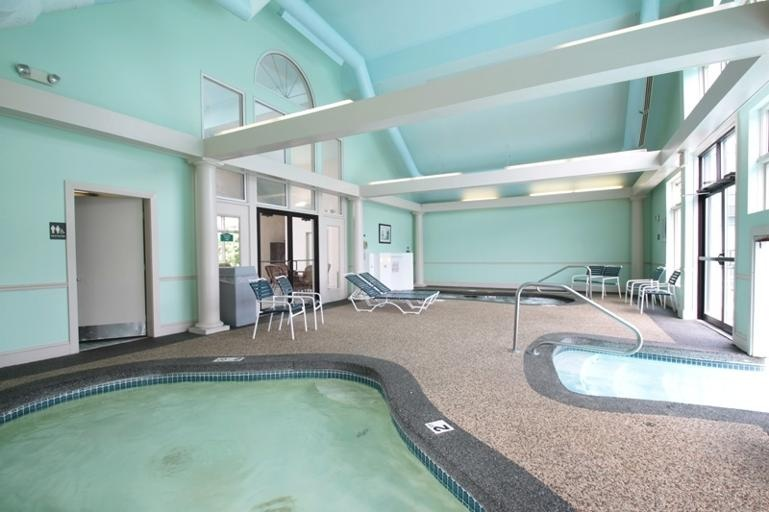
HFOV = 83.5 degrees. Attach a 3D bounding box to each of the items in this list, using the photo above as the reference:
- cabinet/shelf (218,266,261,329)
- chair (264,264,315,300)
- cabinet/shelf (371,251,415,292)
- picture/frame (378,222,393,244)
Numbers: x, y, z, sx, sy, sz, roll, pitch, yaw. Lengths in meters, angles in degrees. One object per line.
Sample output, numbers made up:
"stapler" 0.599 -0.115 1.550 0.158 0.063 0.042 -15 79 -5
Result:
"cabinet/shelf" -2.893 0.772 8.509 0.727 1.152 0.361 -4 -1 -20
"chair" -2.286 0.592 10.484 1.043 1.319 0.905 -1 -1 33
"cabinet/shelf" 0.219 0.443 13.307 0.434 1.054 1.332 -4 -4 39
"picture/frame" 0.012 -0.745 13.718 0.076 0.658 0.854 -5 -1 26
